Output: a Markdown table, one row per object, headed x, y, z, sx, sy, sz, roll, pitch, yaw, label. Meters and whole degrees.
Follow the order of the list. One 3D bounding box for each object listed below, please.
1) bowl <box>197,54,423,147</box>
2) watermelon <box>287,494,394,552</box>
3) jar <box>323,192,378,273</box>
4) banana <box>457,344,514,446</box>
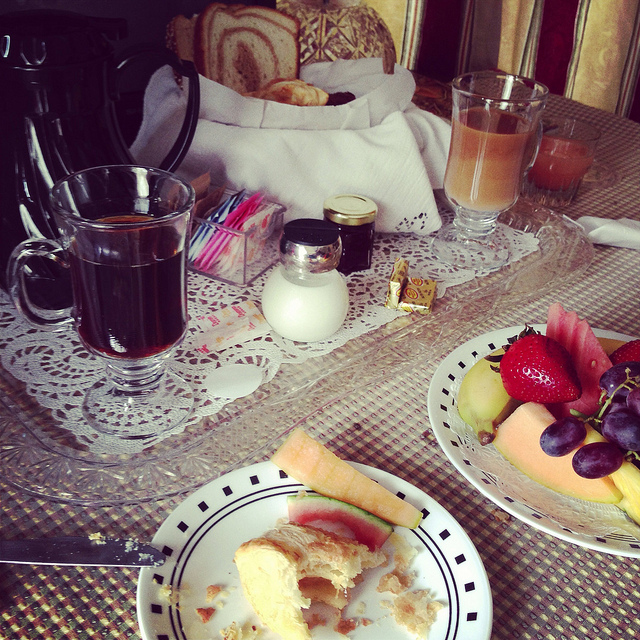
| x | y | z | sx | sy | sz | roll | pitch | yaw | label |
| --- | --- | --- | --- | --- | --- | --- | --- | --- | --- |
| -0.005 | -0.385 | 1.121 | 0.392 | 0.103 | 0.256 | -7 | 14 | -18 | bowl |
| 0.025 | 0.182 | 0.567 | 0.119 | 0.033 | 0.051 | -2 | 14 | 26 | watermelon |
| 0.032 | -0.147 | 1.012 | 0.117 | 0.126 | 0.124 | 0 | 33 | 0 | jar |
| 0.190 | 0.086 | 0.682 | 0.043 | 0.040 | 0.121 | -17 | 24 | 36 | banana |
